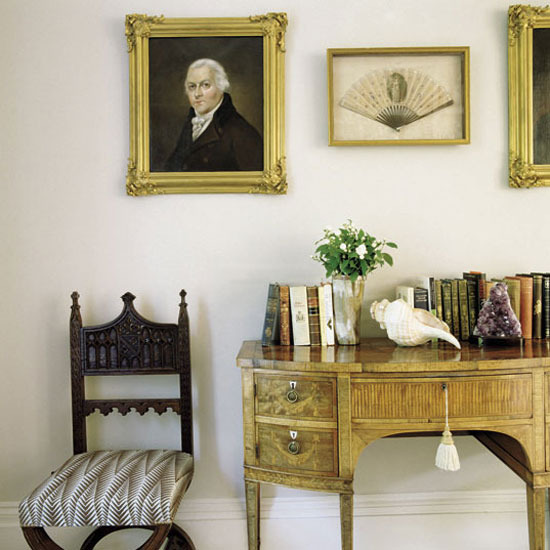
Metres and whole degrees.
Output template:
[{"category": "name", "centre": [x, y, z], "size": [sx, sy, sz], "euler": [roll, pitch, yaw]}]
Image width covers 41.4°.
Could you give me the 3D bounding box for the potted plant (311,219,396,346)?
[{"category": "potted plant", "centre": [0.315, 0.054, 3.026], "size": [0.254, 0.478, 0.314], "euler": [0, -1, 0]}]
